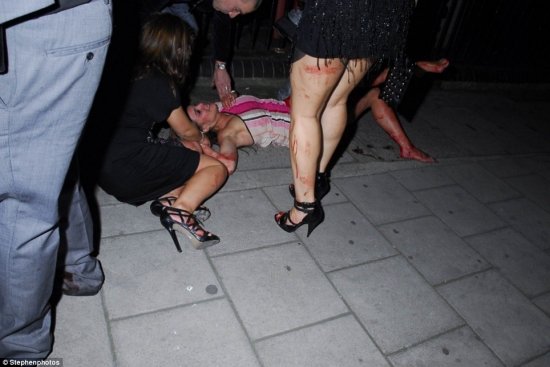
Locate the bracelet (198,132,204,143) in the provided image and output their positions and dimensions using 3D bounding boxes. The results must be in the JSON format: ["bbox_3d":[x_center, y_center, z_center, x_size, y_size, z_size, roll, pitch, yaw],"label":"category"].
[{"bbox_3d":[-0.552,-0.351,2.728,0.019,0.072,0.078,2,1,-22],"label":"bracelet"}]

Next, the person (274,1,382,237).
[{"bbox_3d":[0.255,-0.314,2.222,0.432,1.417,0.614,15,47,9],"label":"person"}]

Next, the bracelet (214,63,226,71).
[{"bbox_3d":[-0.506,-1.083,3.350,0.092,0.056,0.088,0,9,-28],"label":"bracelet"}]

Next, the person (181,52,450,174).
[{"bbox_3d":[0.262,-0.471,3.142,2.050,0.755,1.184,-6,27,24],"label":"person"}]

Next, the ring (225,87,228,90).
[{"bbox_3d":[-0.463,-0.913,3.429,0.030,0.027,0.007,-3,10,-24],"label":"ring"}]
